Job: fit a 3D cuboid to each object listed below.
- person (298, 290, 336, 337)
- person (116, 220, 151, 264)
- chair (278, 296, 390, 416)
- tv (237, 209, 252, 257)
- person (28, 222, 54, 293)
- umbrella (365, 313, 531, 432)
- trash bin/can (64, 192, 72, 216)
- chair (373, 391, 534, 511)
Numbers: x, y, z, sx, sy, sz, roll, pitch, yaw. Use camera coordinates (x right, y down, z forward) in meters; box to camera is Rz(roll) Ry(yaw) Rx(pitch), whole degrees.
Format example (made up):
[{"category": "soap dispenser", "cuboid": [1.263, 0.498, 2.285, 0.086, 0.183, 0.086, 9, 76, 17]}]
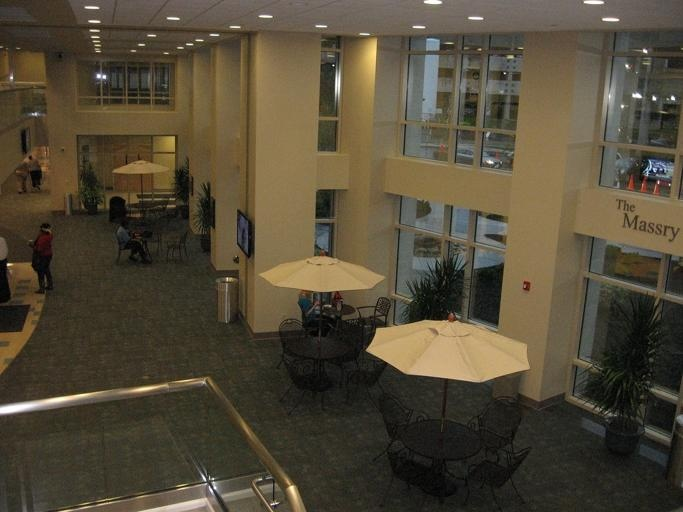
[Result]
[{"category": "person", "cuboid": [-0.573, 1.308, 12.447, 0.677, 1.234, 0.530, -11, 7, -7]}, {"category": "person", "cuboid": [-7.183, -0.436, 18.379, 1.037, 1.512, 0.683, -15, 41, -20]}, {"category": "chair", "cuboid": [-0.250, 2.019, 11.026, 1.653, 0.776, 2.052, -2, 22, -11]}, {"category": "tv", "cuboid": [-2.258, -0.571, 12.456, 0.111, 0.809, 1.115, -1, 5, -20]}, {"category": "person", "cuboid": [-8.176, 0.013, 14.564, 0.521, 1.880, 0.950, -12, 18, -34]}, {"category": "umbrella", "cuboid": [1.349, 1.692, 7.296, 1.327, 1.150, 1.402, 3, 16, -17]}, {"category": "trash bin/can", "cuboid": [-11.985, -2.263, 23.305, 0.332, 0.841, 0.823, 1, 18, -11]}, {"category": "chair", "cuboid": [1.621, 2.882, 7.894, 1.681, 0.829, 1.746, 7, 18, 14]}]
